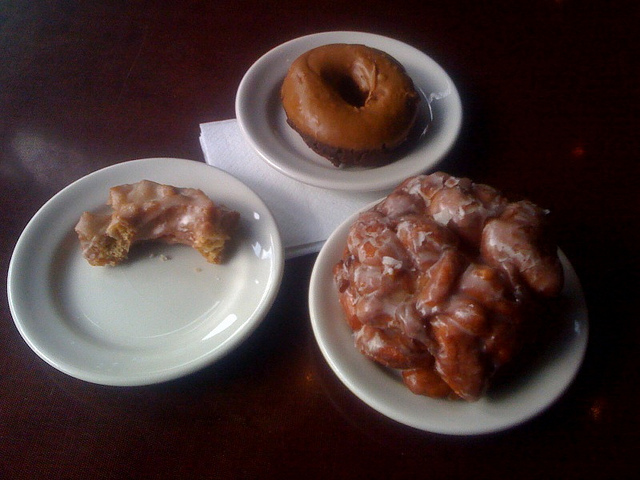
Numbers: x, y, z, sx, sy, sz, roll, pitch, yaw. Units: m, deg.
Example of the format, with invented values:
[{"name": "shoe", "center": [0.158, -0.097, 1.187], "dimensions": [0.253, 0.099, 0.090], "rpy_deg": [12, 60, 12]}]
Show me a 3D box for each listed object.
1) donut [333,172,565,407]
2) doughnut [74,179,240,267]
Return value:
[{"name": "donut", "center": [0.237, 0.086, 1.165], "dimensions": [0.414, 0.161, 0.440], "rpy_deg": [12, 78, 2]}, {"name": "doughnut", "center": [-0.367, -0.041, 1.346], "dimensions": [0.275, 0.092, 0.213], "rpy_deg": [7, 50, -7]}]
